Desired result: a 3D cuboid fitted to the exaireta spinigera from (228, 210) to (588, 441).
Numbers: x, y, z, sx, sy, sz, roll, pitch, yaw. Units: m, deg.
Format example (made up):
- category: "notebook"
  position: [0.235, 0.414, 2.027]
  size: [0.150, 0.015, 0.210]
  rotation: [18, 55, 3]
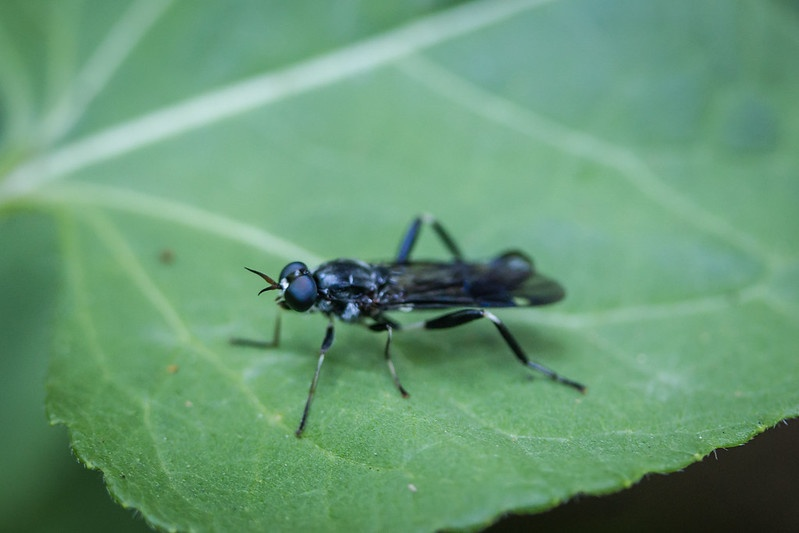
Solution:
- category: "exaireta spinigera"
  position: [0.189, 0.396, 6.362]
  size: [2.776, 1.836, 0.913]
  rotation: [-10, -59, -20]
